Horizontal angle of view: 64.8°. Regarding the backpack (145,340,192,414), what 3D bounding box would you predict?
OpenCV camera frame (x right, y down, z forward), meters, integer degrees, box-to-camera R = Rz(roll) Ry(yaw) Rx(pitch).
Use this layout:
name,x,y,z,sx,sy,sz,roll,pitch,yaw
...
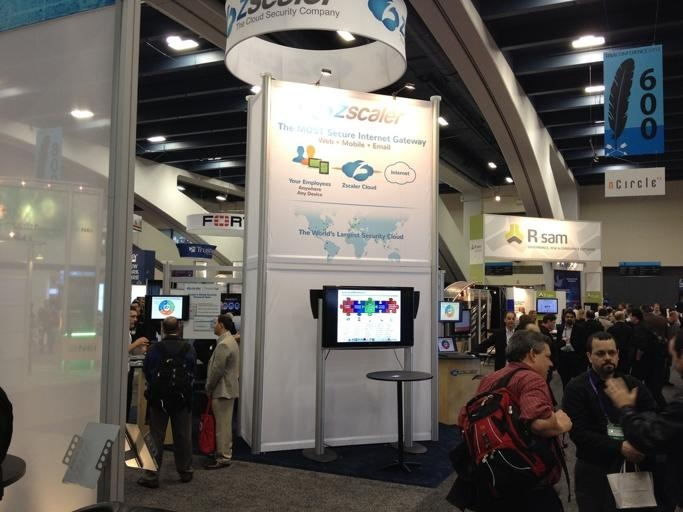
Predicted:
name,x,y,z,sx,sy,sz,roll,pitch,yaw
backpack,-1.522,1.079,4.804,0.432,0.616,0.342,-1,7,-21

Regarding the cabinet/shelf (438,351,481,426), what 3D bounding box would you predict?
name,x,y,z,sx,sy,sz,roll,pitch,yaw
cabinet/shelf,1.542,1.670,6.953,0.524,0.884,0.636,-4,8,-17

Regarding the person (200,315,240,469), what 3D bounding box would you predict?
name,x,y,z,sx,sy,sz,roll,pitch,yaw
person,-1.139,1.297,5.120,0.300,1.417,0.483,0,7,-12

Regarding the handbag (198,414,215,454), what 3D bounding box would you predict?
name,x,y,z,sx,sy,sz,roll,pitch,yaw
handbag,-1.255,1.688,5.027,0.140,0.435,0.214,0,7,-15

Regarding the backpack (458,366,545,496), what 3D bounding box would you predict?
name,x,y,z,sx,sy,sz,roll,pitch,yaw
backpack,0.847,0.934,2.793,0.279,0.512,0.413,10,-38,-25

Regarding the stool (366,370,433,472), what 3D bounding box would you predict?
name,x,y,z,sx,sy,sz,roll,pitch,yaw
stool,0.546,1.546,5.017,0.809,0.799,0.866,1,-12,-1
